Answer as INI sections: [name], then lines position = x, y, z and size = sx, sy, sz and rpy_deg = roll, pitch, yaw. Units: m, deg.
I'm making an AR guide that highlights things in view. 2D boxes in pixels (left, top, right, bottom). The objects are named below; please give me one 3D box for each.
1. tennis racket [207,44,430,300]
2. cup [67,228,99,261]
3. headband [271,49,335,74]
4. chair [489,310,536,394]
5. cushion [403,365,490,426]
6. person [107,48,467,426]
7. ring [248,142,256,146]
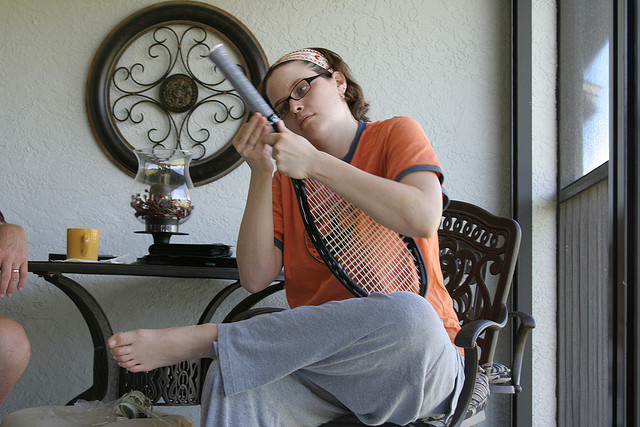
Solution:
[tennis racket]
position = -0.030, -0.086, 1.869
size = 0.402, 1.046, 0.080
rpy_deg = -39, -9, 1
[cup]
position = -0.932, 0.113, 2.290
size = 0.117, 0.122, 0.160
rpy_deg = 5, 8, -25
[headband]
position = -0.037, -0.497, 1.944
size = 0.133, 0.035, 0.104
rpy_deg = -13, 17, 43
[chair]
position = 0.651, 0.483, 1.981
size = 0.146, 0.301, 0.348
rpy_deg = -3, -7, 19
[cushion]
position = 0.381, 0.579, 1.758
size = 0.261, 0.157, 0.064
rpy_deg = -23, 12, 12
[person]
position = -0.016, 0.023, 1.823
size = 0.876, 1.208, 0.486
rpy_deg = -2, -6, 10
[ring]
position = -0.220, -0.218, 1.832
size = 0.018, 0.009, 0.008
rpy_deg = 2, -7, -24
